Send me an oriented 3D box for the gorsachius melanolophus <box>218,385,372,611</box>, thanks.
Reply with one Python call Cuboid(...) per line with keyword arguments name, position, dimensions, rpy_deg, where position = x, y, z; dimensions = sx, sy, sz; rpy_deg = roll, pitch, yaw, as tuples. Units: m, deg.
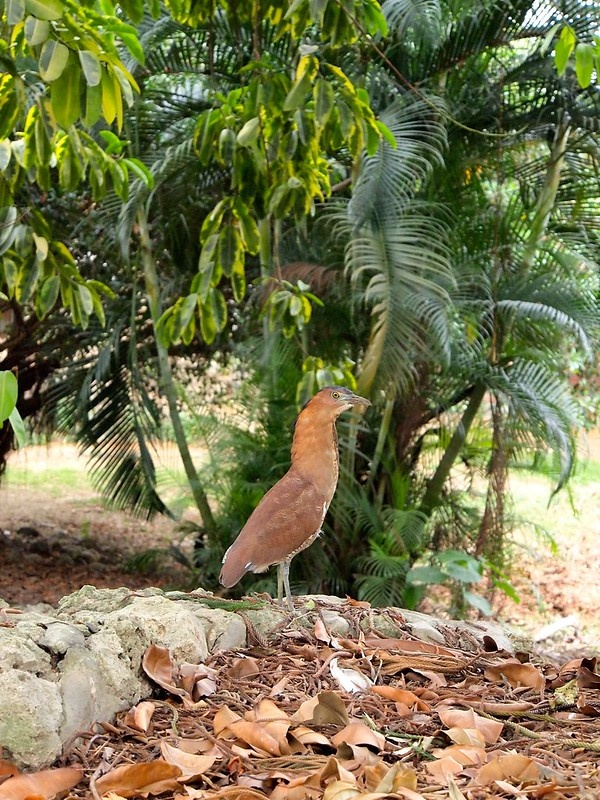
Cuboid(name="gorsachius melanolophus", position=(-0.027, 0.337, 3.005), dimensions=(0.290, 0.791, 0.472), rpy_deg=(15, 9, 10))
